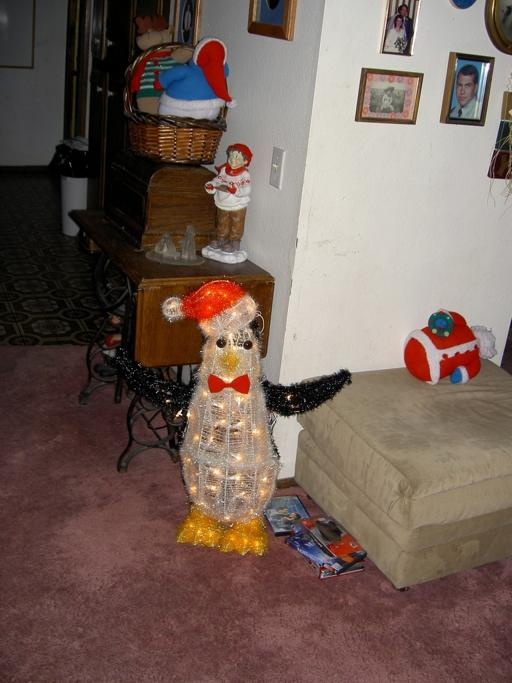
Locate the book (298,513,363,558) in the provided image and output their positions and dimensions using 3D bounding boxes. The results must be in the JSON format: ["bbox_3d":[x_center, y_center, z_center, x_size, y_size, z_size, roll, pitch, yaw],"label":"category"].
[{"bbox_3d":[0.260,0.636,1.769,0.080,0.032,0.137,-3,14,-22],"label":"book"}]

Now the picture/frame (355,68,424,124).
[{"bbox_3d":[0.395,-0.748,1.630,0.194,0.134,0.008,-5,29,-24],"label":"picture/frame"}]

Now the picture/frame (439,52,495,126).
[{"bbox_3d":[0.680,-0.828,1.752,0.221,0.215,0.029,-11,32,-22],"label":"picture/frame"}]

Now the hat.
[{"bbox_3d":[-0.128,-0.893,1.823,0.127,0.206,0.081,-17,16,-7],"label":"hat"}]

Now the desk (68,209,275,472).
[{"bbox_3d":[-0.338,0.106,2.317,0.716,0.630,1.301,-4,44,-13],"label":"desk"}]

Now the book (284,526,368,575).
[{"bbox_3d":[0.200,0.676,1.721,0.133,0.039,0.131,-19,31,-41],"label":"book"}]

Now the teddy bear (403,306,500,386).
[{"bbox_3d":[0.739,0.034,1.995,0.320,0.255,0.157,-14,-9,-17],"label":"teddy bear"}]

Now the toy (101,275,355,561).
[{"bbox_3d":[-0.051,0.258,1.723,0.872,0.906,0.366,1,24,0],"label":"toy"}]
